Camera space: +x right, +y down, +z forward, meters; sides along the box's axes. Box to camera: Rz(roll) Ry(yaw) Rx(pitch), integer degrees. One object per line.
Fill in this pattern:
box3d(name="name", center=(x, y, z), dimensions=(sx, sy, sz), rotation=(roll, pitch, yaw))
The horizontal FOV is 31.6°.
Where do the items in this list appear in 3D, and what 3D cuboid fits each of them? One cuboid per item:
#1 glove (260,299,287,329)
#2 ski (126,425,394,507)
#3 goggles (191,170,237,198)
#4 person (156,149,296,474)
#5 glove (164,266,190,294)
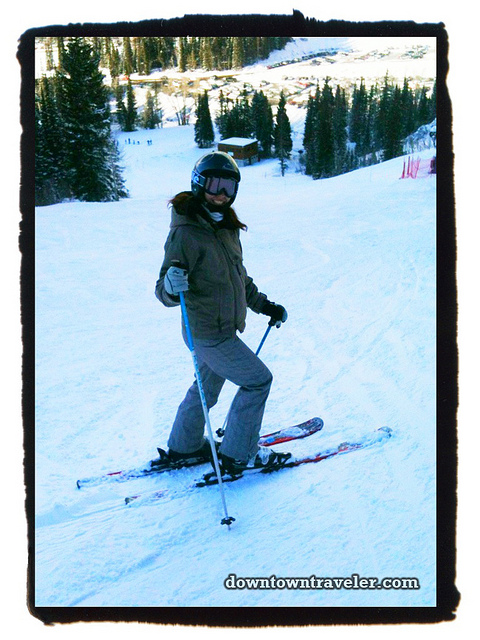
box3d(name="glove", center=(0.254, -0.012, 6.241), dimensions=(0.162, 0.078, 0.212), rotation=(13, 58, 21))
box3d(name="ski", center=(0.136, 1.091, 6.182), dimensions=(2.212, 0.127, 0.237), rotation=(-10, 43, -18))
box3d(name="goggles", center=(-0.188, -0.924, 5.642), dimensions=(0.168, 0.084, 0.214), rotation=(6, 15, -30))
box3d(name="person", center=(-0.154, -0.026, 6.055), dimensions=(0.870, 2.310, 1.218), rotation=(-4, 16, 6))
box3d(name="glove", center=(-0.419, -0.259, 5.475), dimensions=(0.160, 0.180, 0.125), rotation=(-8, 16, -5))
